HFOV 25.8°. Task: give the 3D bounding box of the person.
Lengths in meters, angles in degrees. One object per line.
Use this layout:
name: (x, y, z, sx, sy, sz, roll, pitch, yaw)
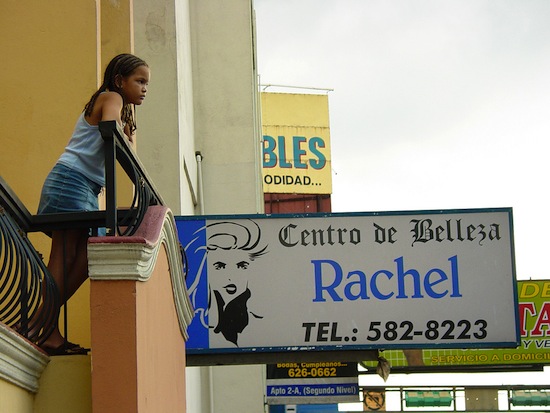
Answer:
person: (-1.909, -0.057, 12.445, 0.781, 3.120, 1.374, 15, -29, -35)
